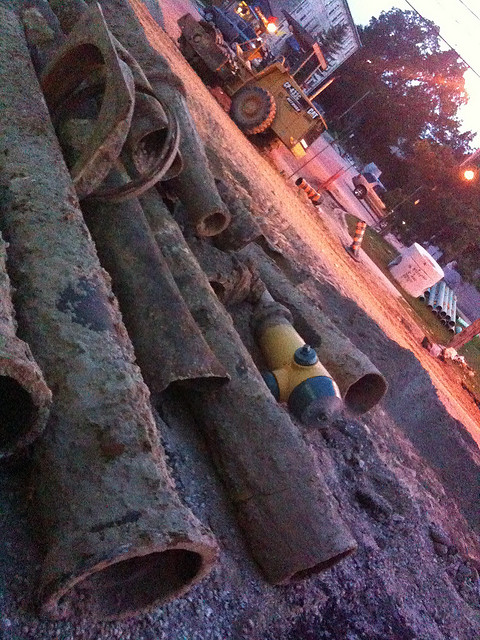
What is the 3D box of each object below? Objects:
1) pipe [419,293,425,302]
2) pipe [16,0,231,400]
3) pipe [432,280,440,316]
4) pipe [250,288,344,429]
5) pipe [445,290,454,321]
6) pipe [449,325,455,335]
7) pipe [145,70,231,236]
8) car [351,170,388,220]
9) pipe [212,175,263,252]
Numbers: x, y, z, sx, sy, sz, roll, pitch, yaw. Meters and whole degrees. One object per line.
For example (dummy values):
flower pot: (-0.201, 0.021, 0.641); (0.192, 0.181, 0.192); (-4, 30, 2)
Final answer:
pipe: (4.837, -0.617, 12.926); (0.177, 0.203, 0.189); (7, 0, 0)
pipe: (-1.078, -1.107, 3.739); (0.871, 0.804, 4.698); (-1, 53, -36)
pipe: (5.140, -0.548, 12.716); (0.146, 0.137, 1.080); (5, 36, 21)
pipe: (0.400, 0.291, 4.598); (0.611, 0.636, 1.777); (-5, 26, -10)
pipe: (5.599, -0.369, 12.962); (0.164, 0.161, 0.921); (21, 38, 8)
pipe: (5.462, 0.259, 12.474); (0.165, 0.161, 0.181); (9, 24, 10)
pipe: (-0.432, -1.428, 4.287); (0.525, 0.611, 1.822); (-16, 69, -14)
car: (4.506, -4.348, 16.617); (1.811, 0.875, 0.982); (61, 10, -1)
pipe: (-0.113, -1.127, 4.982); (0.470, 0.297, 0.809); (-18, 66, -31)
